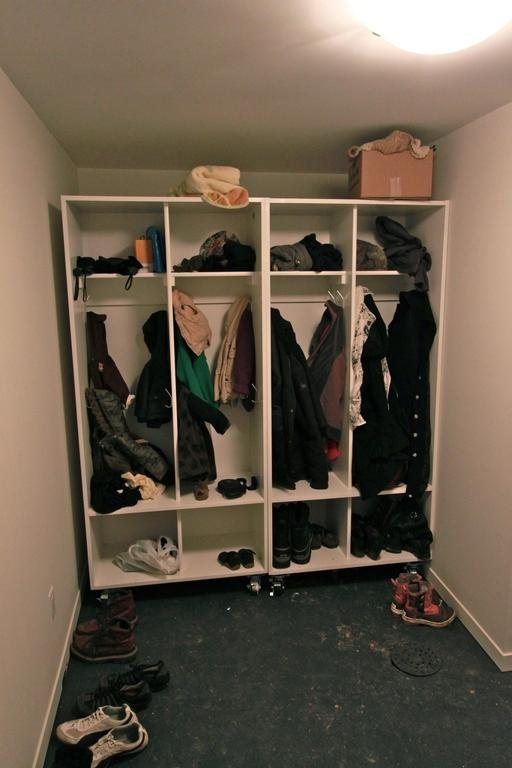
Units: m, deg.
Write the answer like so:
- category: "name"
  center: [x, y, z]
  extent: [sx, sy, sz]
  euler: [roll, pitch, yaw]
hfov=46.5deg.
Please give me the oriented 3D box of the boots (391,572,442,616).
- category: "boots"
  center: [0.727, 0.987, 2.799]
  extent: [0.294, 0.183, 0.105]
  euler: [-10, 12, -44]

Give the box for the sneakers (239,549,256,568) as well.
- category: "sneakers"
  center: [-0.048, 0.884, 3.025]
  extent: [0.073, 0.051, 0.139]
  euler: [-4, 13, -14]

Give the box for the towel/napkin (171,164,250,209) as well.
- category: "towel/napkin"
  center: [-0.203, -0.876, 2.666]
  extent: [0.328, 0.180, 0.190]
  euler: [-3, 12, -7]

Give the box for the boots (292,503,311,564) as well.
- category: "boots"
  center: [0.239, 0.750, 3.161]
  extent: [0.120, 0.276, 0.389]
  euler: [0, 6, 5]

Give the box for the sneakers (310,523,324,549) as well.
- category: "sneakers"
  center: [0.324, 0.820, 3.196]
  extent: [0.051, 0.066, 0.151]
  euler: [-1, 18, 0]

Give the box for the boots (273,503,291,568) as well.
- category: "boots"
  center: [0.137, 0.784, 3.139]
  extent: [0.126, 0.277, 0.391]
  euler: [0, 0, 2]

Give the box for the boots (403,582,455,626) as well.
- category: "boots"
  center: [0.770, 1.012, 2.792]
  extent: [0.281, 0.209, 0.125]
  euler: [-1, 6, -11]

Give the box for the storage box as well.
- category: "storage box"
  center: [0.625, -0.927, 2.678]
  extent: [0.245, 0.155, 0.251]
  euler: [0, 14, 0]

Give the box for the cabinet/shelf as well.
- category: "cabinet/shelf"
  center: [-0.003, 0.021, 2.919]
  extent: [1.967, 1.947, 0.510]
  euler: [-1, 3, -6]
